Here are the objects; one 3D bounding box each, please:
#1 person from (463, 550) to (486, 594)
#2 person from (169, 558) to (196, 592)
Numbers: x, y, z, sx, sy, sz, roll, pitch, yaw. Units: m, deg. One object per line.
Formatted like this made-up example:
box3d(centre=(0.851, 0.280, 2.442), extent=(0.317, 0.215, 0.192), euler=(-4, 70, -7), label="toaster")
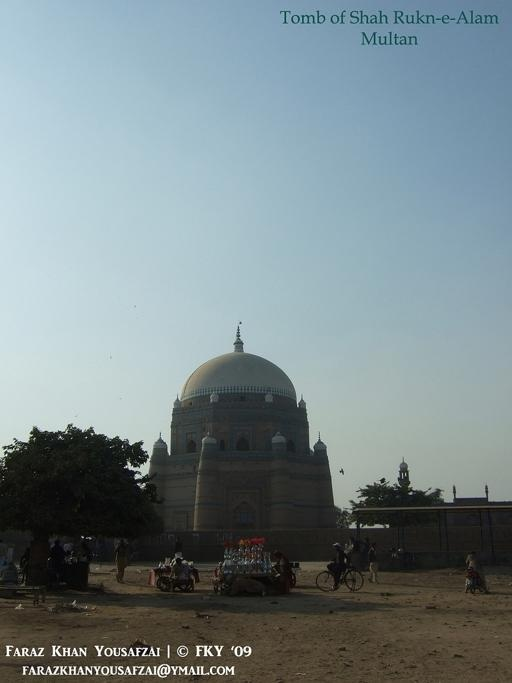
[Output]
box3d(centre=(4.979, 5.281, 17.284), extent=(0.498, 0.834, 1.317), euler=(-6, -19, 14), label="person")
box3d(centre=(-1.693, 5.321, 17.359), extent=(0.539, 0.738, 0.567), euler=(2, -19, -8), label="person")
